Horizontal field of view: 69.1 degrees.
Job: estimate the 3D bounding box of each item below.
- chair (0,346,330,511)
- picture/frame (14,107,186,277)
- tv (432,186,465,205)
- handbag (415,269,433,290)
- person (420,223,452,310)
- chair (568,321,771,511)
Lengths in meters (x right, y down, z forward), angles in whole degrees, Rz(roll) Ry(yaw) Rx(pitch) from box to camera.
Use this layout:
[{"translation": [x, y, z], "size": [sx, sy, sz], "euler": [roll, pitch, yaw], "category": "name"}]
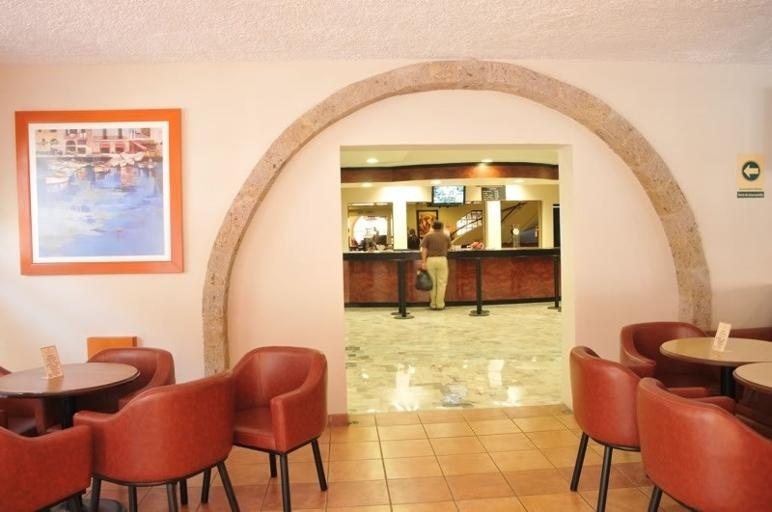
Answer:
[{"translation": [-1.403, 1.261, 4.408], "size": [1.093, 1.087, 1.405], "euler": [-4, -8, 37], "category": "chair"}, {"translation": [-2.935, -0.690, 5.665], "size": [1.958, 1.777, 0.069], "euler": [0, 5, 0], "category": "picture/frame"}, {"translation": [1.512, -1.504, 13.742], "size": [0.807, 0.485, 0.322], "euler": [0, 12, 7], "category": "tv"}, {"translation": [0.715, 0.444, 10.618], "size": [0.450, 0.420, 0.222], "euler": [1, -6, -8], "category": "handbag"}, {"translation": [0.945, 0.215, 11.127], "size": [0.451, 1.813, 0.963], "euler": [5, 14, 29], "category": "person"}, {"translation": [2.422, 1.283, 4.866], "size": [1.093, 1.149, 2.117], "euler": [9, 15, 42], "category": "chair"}]
